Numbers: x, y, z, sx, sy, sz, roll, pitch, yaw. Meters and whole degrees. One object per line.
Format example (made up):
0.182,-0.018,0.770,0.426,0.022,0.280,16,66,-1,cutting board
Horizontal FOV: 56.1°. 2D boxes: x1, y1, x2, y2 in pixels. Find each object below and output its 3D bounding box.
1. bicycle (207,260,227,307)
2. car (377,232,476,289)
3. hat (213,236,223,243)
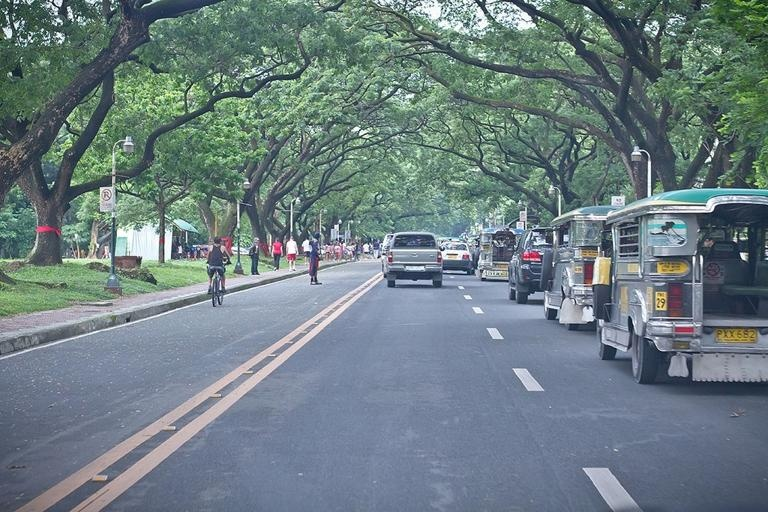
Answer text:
-5.403,0.950,23.026,0.469,1.263,0.630,0,1,-12,bicycle
1.323,0.147,32.316,2.438,2.395,2.329,0,1,-4,car
-5.228,-0.491,22.528,0.221,0.171,0.228,-3,8,2,hat
